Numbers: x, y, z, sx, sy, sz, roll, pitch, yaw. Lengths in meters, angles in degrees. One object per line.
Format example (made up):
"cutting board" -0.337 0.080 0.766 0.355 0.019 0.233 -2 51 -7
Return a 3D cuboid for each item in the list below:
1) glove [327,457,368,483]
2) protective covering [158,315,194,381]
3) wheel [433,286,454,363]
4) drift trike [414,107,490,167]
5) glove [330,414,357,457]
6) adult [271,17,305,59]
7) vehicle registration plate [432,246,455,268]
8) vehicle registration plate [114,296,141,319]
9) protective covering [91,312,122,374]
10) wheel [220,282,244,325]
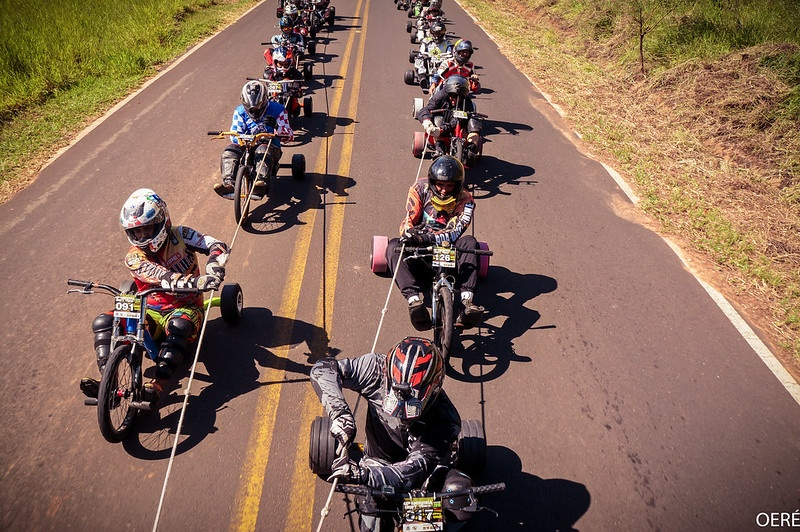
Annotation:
"glove" -0.822 3.200 10.400 0.385 0.505 0.275 13 88 47
"protective covering" -4.221 1.451 12.254 0.595 0.414 1.200 23 85 28
"wheel" 0.829 1.080 12.424 0.432 1.100 1.189 0 75 -4
"drift trike" 1.381 -3.357 16.739 1.090 0.983 1.912 2 30 -5
"glove" -0.914 2.711 10.648 0.402 0.237 0.651 0 76 20
"adult" -3.699 -7.404 21.887 1.089 0.931 1.650 -8 51 -8
"vehicle registration plate" 0.864 -0.213 12.819 0.315 0.113 0.331 4 80 6
"vehicle registration plate" -4.850 0.705 11.698 0.381 0.301 0.414 1 91 2
"protective covering" -5.335 1.354 11.941 0.349 0.576 0.977 -4 90 -1
"wheel" -3.330 0.722 13.109 0.273 0.790 0.850 -1 89 4
